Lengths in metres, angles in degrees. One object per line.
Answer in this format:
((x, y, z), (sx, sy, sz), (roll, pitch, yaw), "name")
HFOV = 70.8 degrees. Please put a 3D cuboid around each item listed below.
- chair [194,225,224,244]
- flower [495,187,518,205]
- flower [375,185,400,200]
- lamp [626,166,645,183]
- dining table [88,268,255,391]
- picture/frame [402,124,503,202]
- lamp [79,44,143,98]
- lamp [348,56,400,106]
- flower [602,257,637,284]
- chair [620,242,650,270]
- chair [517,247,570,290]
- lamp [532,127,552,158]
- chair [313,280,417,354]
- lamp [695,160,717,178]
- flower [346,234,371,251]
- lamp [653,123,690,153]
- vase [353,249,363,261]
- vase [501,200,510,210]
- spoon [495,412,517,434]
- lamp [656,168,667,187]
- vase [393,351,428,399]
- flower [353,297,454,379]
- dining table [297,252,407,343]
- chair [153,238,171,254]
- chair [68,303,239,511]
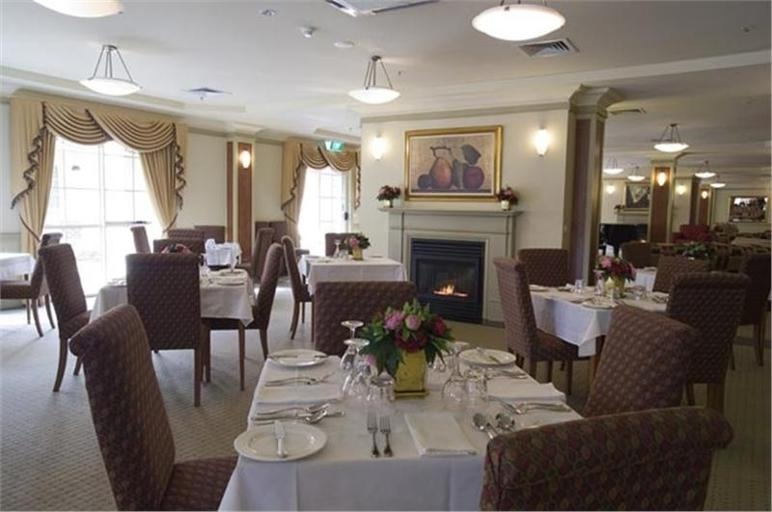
((-3.231, -0.382, 9.926), (0.340, 0.504, 0.390), (2, 1, -12), "chair")
((1.717, -0.811, 7.726), (0.256, 0.275, 0.263), (18, 8, 13), "flower")
((0.037, -0.966, 8.529), (0.262, 0.205, 0.268), (0, 1, -2), "flower")
((7.433, -2.464, 16.164), (0.431, 0.454, 0.439), (-2, 5, -16), "lamp")
((-1.836, 0.446, 5.526), (1.274, 0.696, 1.302), (3, 16, -3), "dining table")
((1.056, -1.420, 8.150), (1.213, 0.879, 0.048), (3, 11, 27), "picture/frame")
((-3.500, -2.307, 6.891), (0.709, 0.652, 0.734), (1, 4, 21), "lamp")
((-0.138, -2.212, 6.946), (0.574, 0.562, 0.588), (-1, -5, 31), "lamp")
((2.279, 0.131, 5.366), (0.256, 0.273, 0.127), (19, 39, 39), "flower")
((3.576, -0.004, 7.791), (0.339, 0.601, 0.351), (-3, 7, -10), "chair")
((1.926, 0.115, 6.624), (0.552, 0.769, 0.618), (0, -4, -5), "chair")
((2.166, -1.588, 7.569), (0.269, 0.397, 0.092), (1, 6, 20), "lamp")
((-0.254, 0.342, 4.235), (0.707, 0.509, 0.529), (-1, -1, -7), "chair")
((8.784, -2.425, 14.961), (0.467, 0.303, 0.479), (-3, -1, 30), "lamp")
((-0.379, -0.187, 7.320), (0.223, 0.162, 0.228), (2, -4, -2), "flower")
((5.324, -2.240, 10.158), (0.571, 0.598, 0.585), (2, 5, 31), "lamp")
((-0.380, -0.021, 7.275), (0.142, 0.170, 0.146), (-1, -1, -3), "vase")
((1.703, -0.735, 7.754), (0.107, 0.102, 0.132), (-4, 12, -1), "vase")
((0.659, 0.926, 3.028), (0.065, 0.021, 0.114), (1, 47, -4), "spoon")
((6.649, -1.875, 13.122), (0.280, 0.363, 0.065), (4, 8, 37), "lamp")
((0.155, 0.747, 3.392), (0.235, 0.292, 0.227), (2, -32, 1), "vase")
((0.116, 0.493, 3.363), (0.447, 0.343, 0.465), (-7, -18, 16), "flower")
((-0.494, 0.504, 7.221), (1.046, 0.642, 1.110), (0, 5, -9), "dining table")
((-3.042, -0.140, 7.367), (0.208, 0.148, 0.551), (-3, 5, -22), "chair")
((-1.366, 0.902, 3.200), (0.760, 1.162, 0.428), (-2, 6, -13), "chair")
